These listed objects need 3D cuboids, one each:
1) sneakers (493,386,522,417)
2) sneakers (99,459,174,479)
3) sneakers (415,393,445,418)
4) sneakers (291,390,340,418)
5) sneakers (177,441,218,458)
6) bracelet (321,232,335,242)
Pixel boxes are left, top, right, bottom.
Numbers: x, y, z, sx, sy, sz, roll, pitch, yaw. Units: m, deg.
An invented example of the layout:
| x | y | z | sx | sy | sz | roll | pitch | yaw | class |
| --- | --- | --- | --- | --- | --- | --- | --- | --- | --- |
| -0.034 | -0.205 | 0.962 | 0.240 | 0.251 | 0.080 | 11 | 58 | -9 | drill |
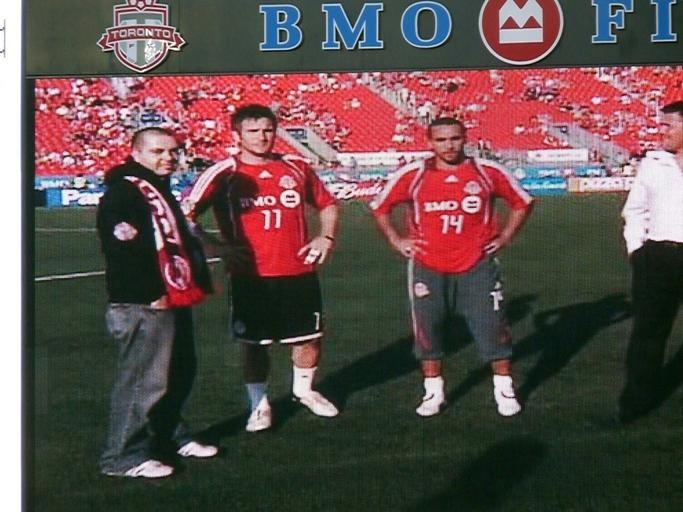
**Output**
| x | y | z | sx | sy | sz | roll | pitch | yaw | class |
| --- | --- | --- | --- | --- | --- | --- | --- | --- | --- |
| 1.191 | 1.070 | 6.774 | 0.132 | 0.232 | 0.095 | -6 | -13 | 4 | sneakers |
| -1.511 | 1.529 | 6.844 | 0.449 | 0.116 | 0.167 | -1 | 8 | 4 | sneakers |
| 0.631 | 1.094 | 6.782 | 0.206 | 0.115 | 0.091 | -11 | 5 | 0 | sneakers |
| -0.176 | 1.081 | 6.804 | 0.303 | 0.162 | 0.071 | 28 | -7 | 2 | sneakers |
| -1.055 | 1.421 | 6.902 | 0.313 | 0.141 | 0.113 | -4 | 4 | 3 | sneakers |
| -0.099 | -0.132 | 6.757 | 0.057 | 0.015 | 0.062 | 24 | -1 | 22 | bracelet |
